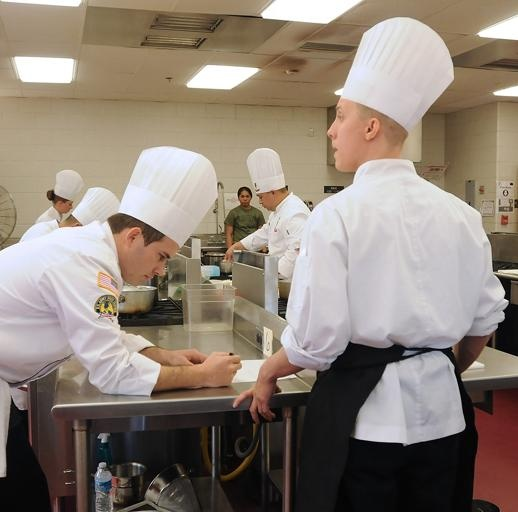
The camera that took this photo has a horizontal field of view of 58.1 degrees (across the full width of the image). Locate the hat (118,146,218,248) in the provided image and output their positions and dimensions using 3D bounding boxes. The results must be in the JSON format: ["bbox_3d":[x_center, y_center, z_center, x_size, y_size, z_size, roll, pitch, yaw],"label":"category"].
[{"bbox_3d":[-0.206,-0.151,1.351,0.255,0.223,0.216,19,-12,42],"label":"hat"}]

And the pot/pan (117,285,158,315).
[{"bbox_3d":[-0.622,0.222,2.438,0.258,0.131,0.276,0,-5,-3],"label":"pot/pan"}]

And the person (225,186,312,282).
[{"bbox_3d":[0.160,-0.145,3.591,0.376,0.498,0.731,0,5,-25],"label":"person"}]

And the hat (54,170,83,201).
[{"bbox_3d":[-1.941,-0.725,4.834,0.295,0.287,0.332,8,15,-24],"label":"hat"}]

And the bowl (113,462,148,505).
[{"bbox_3d":[-0.546,0.959,1.985,0.128,0.101,0.139,-1,-5,0],"label":"bowl"}]

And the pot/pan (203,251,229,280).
[{"bbox_3d":[-0.350,0.072,3.931,0.320,0.234,0.259,0,-1,-13],"label":"pot/pan"}]

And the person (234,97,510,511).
[{"bbox_3d":[0.292,0.096,1.089,0.638,0.927,0.275,2,2,-14],"label":"person"}]
